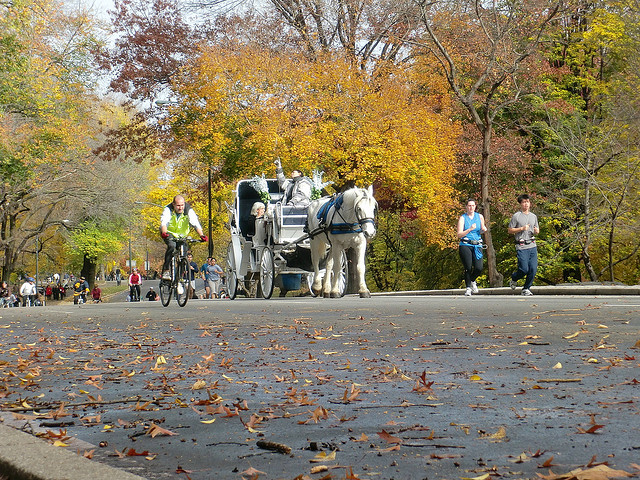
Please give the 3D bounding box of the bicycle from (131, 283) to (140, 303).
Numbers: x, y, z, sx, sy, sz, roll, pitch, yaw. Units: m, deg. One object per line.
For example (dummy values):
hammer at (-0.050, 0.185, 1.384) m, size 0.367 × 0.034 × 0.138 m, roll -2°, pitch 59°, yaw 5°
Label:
bicycle at (-8.174, 2.345, 43.866) m, size 0.212 × 0.964 × 0.523 m, roll -1°, pitch 13°, yaw -37°
